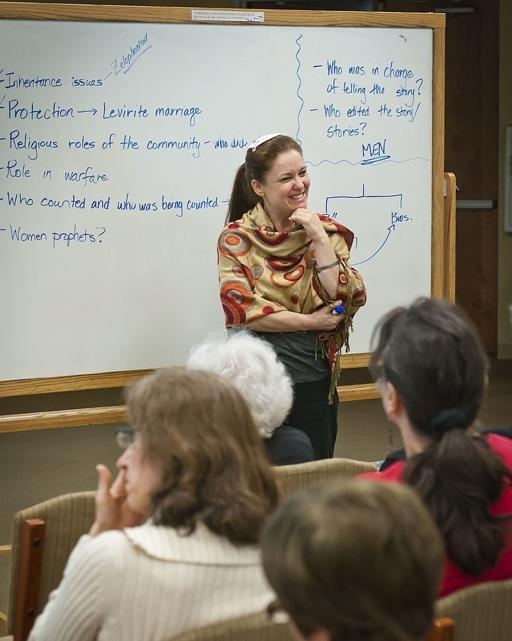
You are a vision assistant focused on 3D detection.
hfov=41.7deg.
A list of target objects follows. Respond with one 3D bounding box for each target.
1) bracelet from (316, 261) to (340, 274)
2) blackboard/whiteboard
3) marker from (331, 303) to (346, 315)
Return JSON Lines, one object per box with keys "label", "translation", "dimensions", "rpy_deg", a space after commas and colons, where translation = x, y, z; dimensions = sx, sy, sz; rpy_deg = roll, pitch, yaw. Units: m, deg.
{"label": "bracelet", "translation": [0.231, -0.173, 2.182], "dimensions": [0.073, 0.037, 0.043], "rpy_deg": [-3, 8, 3]}
{"label": "blackboard/whiteboard", "translation": [-0.192, -0.482, 2.443], "dimensions": [1.775, 1.162, 0.071], "rpy_deg": [-3, 14, -14]}
{"label": "marker", "translation": [0.270, -0.037, 2.179], "dimensions": [0.026, 0.038, 0.067], "rpy_deg": [3, 10, 40]}
